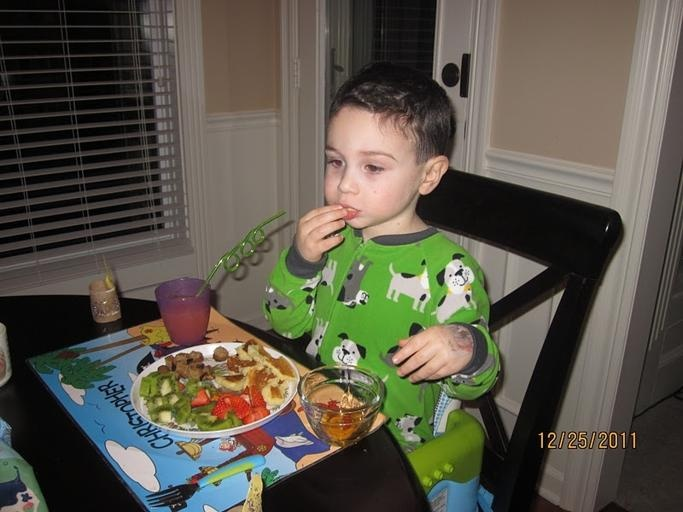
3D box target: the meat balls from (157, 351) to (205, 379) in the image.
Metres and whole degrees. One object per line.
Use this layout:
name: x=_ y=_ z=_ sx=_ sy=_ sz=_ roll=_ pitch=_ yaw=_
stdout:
meat balls: x=-0.290 y=0.195 z=0.844 sx=0.052 sy=0.022 sz=0.054 roll=7 pitch=10 yaw=-1

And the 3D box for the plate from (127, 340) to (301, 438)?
plate: x=-0.215 y=0.224 z=0.822 sx=0.241 sy=0.158 sz=0.192 roll=6 pitch=19 yaw=13

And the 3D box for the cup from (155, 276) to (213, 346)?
cup: x=-0.332 y=0.116 z=1.001 sx=0.103 sy=0.158 sz=0.109 roll=3 pitch=16 yaw=-1

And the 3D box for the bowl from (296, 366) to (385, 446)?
bowl: x=-0.001 y=0.236 z=0.763 sx=0.104 sy=0.108 sz=0.116 roll=-11 pitch=21 yaw=-40

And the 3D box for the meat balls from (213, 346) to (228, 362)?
meat balls: x=-0.238 y=0.195 z=0.894 sx=0.025 sy=0.014 sz=0.025 roll=1 pitch=65 yaw=-2

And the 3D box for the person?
person: x=0.114 y=0.012 z=1.032 sx=0.432 sy=1.027 sz=0.393 roll=-12 pitch=17 yaw=-42
